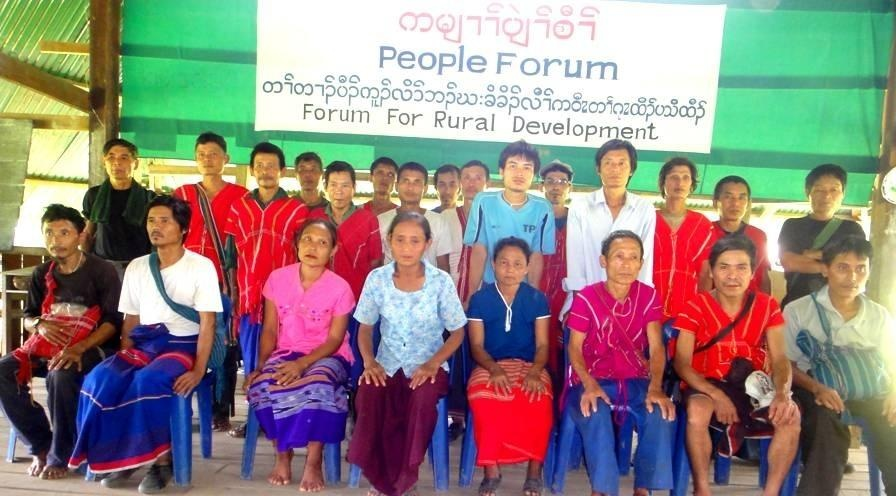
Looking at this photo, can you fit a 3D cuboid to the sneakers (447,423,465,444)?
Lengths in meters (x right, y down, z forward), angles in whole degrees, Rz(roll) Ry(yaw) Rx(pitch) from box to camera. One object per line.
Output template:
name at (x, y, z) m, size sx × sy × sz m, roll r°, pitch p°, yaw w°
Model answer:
sneakers at (0.072, 1.741, 7.529) m, size 0.166 × 0.166 × 0.198 m, roll 0°, pitch -1°, yaw 2°

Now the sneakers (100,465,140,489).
sneakers at (-2.806, 1.943, 6.801) m, size 0.341 × 0.130 × 0.126 m, roll 3°, pitch 2°, yaw -21°

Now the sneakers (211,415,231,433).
sneakers at (-2.150, 1.659, 7.547) m, size 0.088 × 0.160 × 0.225 m, roll -2°, pitch -29°, yaw 0°

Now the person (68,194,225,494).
person at (-2.564, 0.704, 6.845) m, size 1.102 × 1.905 × 0.438 m, roll 2°, pitch 1°, yaw -1°

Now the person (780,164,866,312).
person at (3.668, 0.091, 7.837) m, size 0.813 × 1.805 × 0.637 m, roll 2°, pitch 4°, yaw 21°

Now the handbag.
handbag at (-3.488, 0.689, 7.124) m, size 0.666 × 0.174 × 0.685 m, roll 15°, pitch 30°, yaw 29°

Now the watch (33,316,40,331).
watch at (-3.653, 0.658, 7.042) m, size 0.025 × 0.094 × 0.099 m, roll 33°, pitch 14°, yaw -43°

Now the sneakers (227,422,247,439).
sneakers at (-1.982, 1.689, 7.489) m, size 0.183 × 0.102 × 0.270 m, roll 0°, pitch -9°, yaw 2°
